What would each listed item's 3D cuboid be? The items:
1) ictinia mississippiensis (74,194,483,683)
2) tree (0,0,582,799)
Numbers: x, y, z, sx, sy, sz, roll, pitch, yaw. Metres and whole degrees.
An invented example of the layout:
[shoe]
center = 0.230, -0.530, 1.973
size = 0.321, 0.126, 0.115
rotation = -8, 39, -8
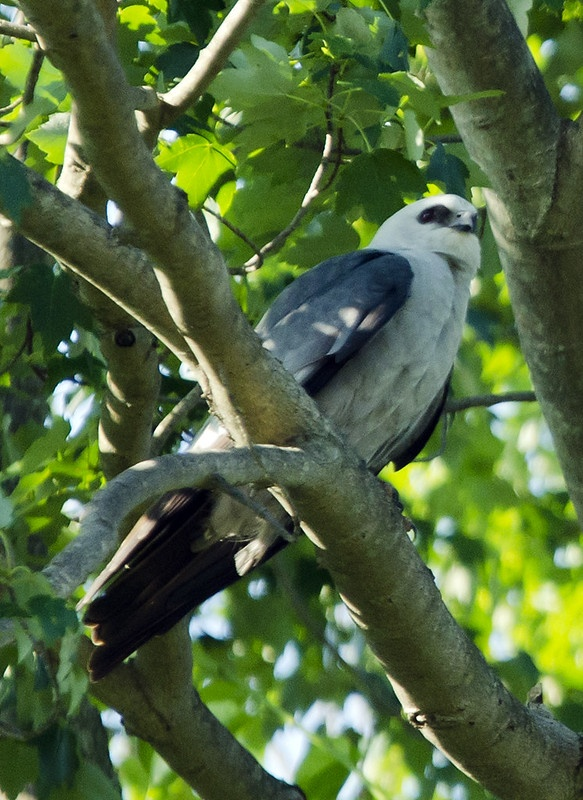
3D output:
[ictinia mississippiensis]
center = 0.015, 0.030, 4.633
size = 1.405, 1.468, 0.724
rotation = -10, -31, 13
[tree]
center = -0.031, -0.006, 3.922
size = 0.653, 2.728, 1.157
rotation = -11, -23, -39
